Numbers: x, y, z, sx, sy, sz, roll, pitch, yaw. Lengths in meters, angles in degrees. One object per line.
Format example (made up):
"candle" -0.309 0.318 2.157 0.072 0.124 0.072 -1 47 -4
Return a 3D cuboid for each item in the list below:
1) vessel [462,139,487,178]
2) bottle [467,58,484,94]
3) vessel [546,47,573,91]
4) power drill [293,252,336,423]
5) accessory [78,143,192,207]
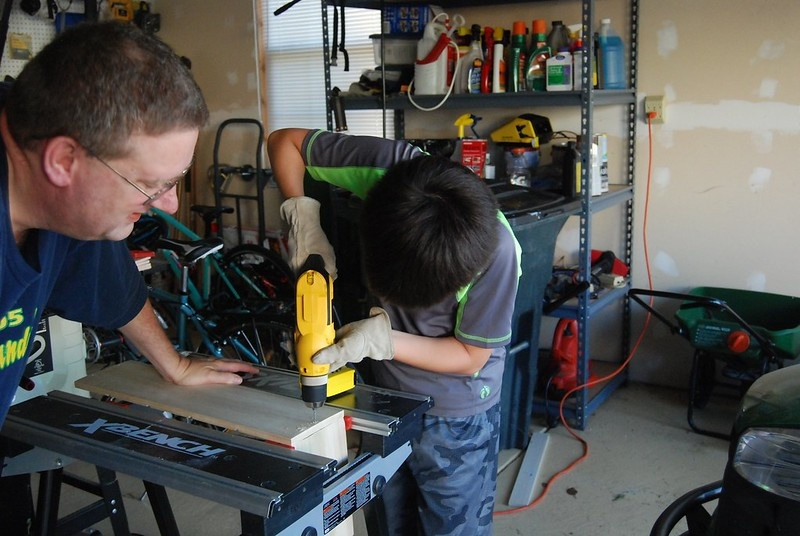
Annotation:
"vessel" 0.413 -0.632 3.531 0.116 0.204 0.116 11 10 8
"bottle" 0.415 -1.063 3.434 0.133 0.183 0.044 -1 13 -31
"vessel" 0.819 -1.014 3.193 0.141 0.205 0.157 3 13 13
"power drill" -0.198 0.167 1.698 0.108 0.391 0.145 1 12 3
"accessory" -0.625 -0.221 1.481 0.137 0.038 0.132 34 13 -8
